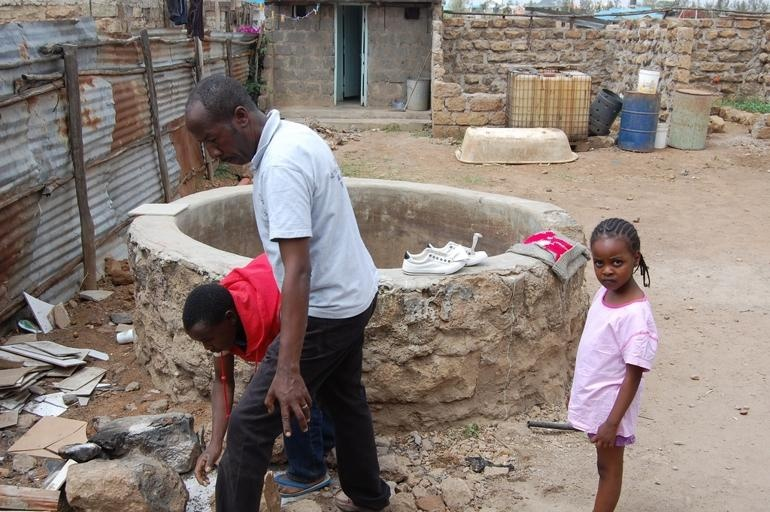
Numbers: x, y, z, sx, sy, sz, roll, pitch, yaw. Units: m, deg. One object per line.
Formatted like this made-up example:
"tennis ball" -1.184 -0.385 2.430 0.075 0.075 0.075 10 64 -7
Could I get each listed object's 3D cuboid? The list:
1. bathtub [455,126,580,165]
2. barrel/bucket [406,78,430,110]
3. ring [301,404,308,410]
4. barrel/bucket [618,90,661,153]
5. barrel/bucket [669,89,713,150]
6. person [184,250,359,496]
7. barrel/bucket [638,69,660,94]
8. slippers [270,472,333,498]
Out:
"bathtub" 2.260 -1.886 10.603 1.930 0.615 0.603 2 18 -2
"barrel/bucket" 0.828 -4.011 15.233 0.733 0.765 0.683 -1 15 0
"ring" -0.375 0.703 2.881 0.025 0.019 0.025 2 6 0
"barrel/bucket" 4.618 -2.429 11.143 0.606 1.036 0.342 8 19 15
"barrel/bucket" 5.586 -2.503 11.247 0.692 1.078 0.492 11 20 25
"person" -0.553 0.671 3.290 0.911 1.197 0.730 -3 1 -44
"barrel/bucket" 4.660 -3.120 11.019 0.447 0.451 0.450 0 13 0
"slippers" -0.501 1.288 3.636 0.317 0.140 0.187 -2 4 -17
